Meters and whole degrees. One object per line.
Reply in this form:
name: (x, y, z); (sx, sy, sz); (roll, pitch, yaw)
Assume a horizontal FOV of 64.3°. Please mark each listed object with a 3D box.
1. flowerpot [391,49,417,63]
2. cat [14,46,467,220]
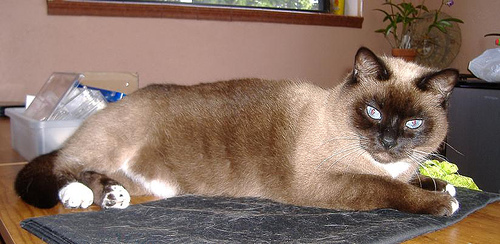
flowerpot: (1.584, -0.692, 4.112); (0.245, 0.110, 0.252); (6, 18, 17)
cat: (-0.088, 0.116, 1.976); (1.984, 0.565, 0.967); (0, 8, 15)
